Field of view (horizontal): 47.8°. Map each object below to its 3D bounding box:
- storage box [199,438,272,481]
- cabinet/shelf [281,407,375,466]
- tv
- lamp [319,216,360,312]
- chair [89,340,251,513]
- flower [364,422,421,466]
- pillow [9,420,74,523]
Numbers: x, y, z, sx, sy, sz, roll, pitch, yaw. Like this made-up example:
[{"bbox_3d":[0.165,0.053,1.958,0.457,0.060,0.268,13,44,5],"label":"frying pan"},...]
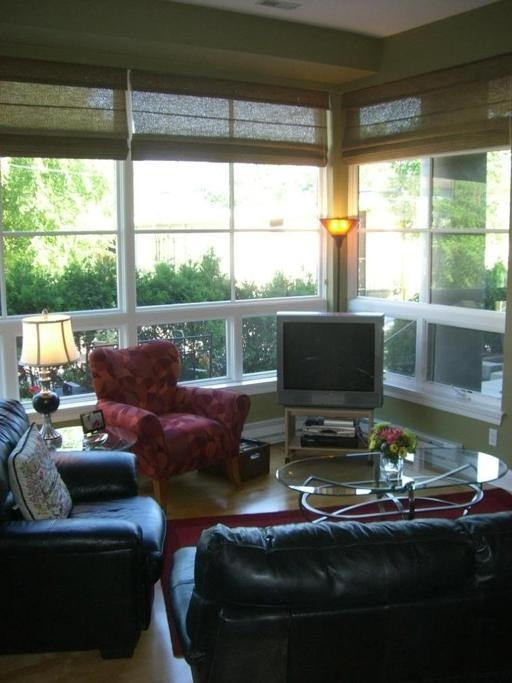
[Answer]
[{"bbox_3d":[-0.101,0.776,3.894,0.299,0.181,0.292,-8,12,-35],"label":"storage box"},{"bbox_3d":[0.574,0.675,4.180,0.658,0.396,0.398,0,-4,17],"label":"cabinet/shelf"},{"bbox_3d":[0.526,0.119,3.980,0.680,0.589,0.255,1,3,11],"label":"tv"},{"bbox_3d":[0.695,-0.623,4.517,0.276,0.768,0.560,-8,4,9],"label":"lamp"},{"bbox_3d":[-0.540,0.400,3.772,1.024,1.049,0.916,-5,6,-42],"label":"chair"},{"bbox_3d":[0.654,0.484,2.804,0.207,0.207,0.209,0,19,-6],"label":"flower"},{"bbox_3d":[-0.844,0.518,2.254,0.168,0.293,0.324,-2,11,-9],"label":"pillow"}]
